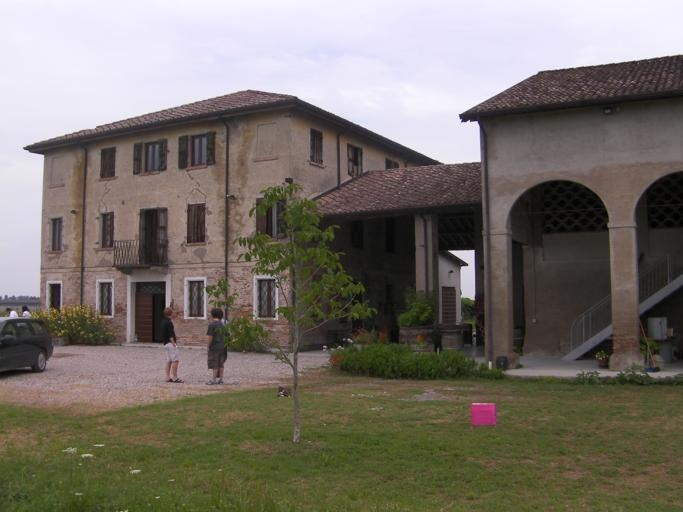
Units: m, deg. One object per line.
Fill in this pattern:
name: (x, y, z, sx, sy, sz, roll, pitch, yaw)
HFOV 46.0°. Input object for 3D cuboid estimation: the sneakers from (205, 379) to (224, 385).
sneakers: (-3.013, 3.012, 19.092, 0.444, 0.185, 0.150, 2, 0, 38)

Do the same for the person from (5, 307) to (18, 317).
person: (-12.482, 2.141, 30.496, 0.492, 0.369, 0.751, 7, -16, -22)

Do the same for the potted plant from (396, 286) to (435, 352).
potted plant: (2.428, 1.936, 25.595, 1.467, 2.138, 1.530, -5, -2, -9)

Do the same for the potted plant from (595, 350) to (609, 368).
potted plant: (6.673, 2.697, 20.735, 0.384, 0.388, 0.378, -2, -6, 15)
